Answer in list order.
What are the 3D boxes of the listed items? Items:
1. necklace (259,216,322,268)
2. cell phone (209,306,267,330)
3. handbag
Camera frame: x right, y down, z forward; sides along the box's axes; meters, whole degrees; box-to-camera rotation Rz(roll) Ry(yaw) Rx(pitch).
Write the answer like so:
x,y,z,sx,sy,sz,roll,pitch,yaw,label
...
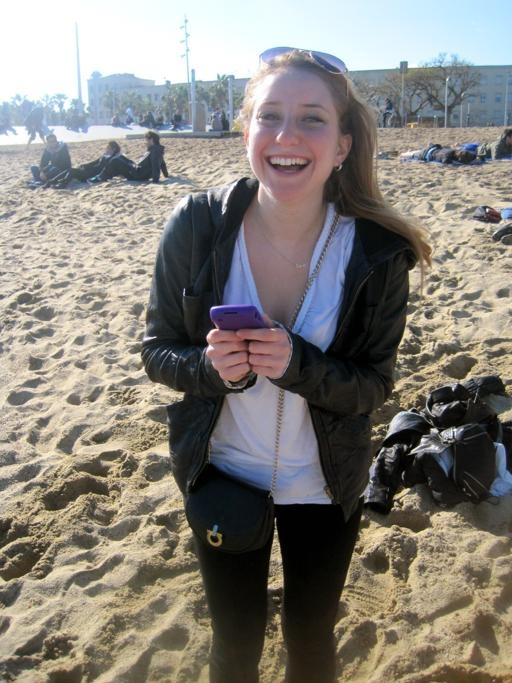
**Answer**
x,y,z,sx,sy,sz,roll,pitch,yaw,label
0.109,-0.322,1.668,0.151,0.035,0.223,-29,34,25,necklace
-0.041,-0.058,1.312,0.110,0.069,0.081,1,17,13,cell phone
-0.069,0.432,1.448,0.230,0.147,0.216,1,17,12,handbag
